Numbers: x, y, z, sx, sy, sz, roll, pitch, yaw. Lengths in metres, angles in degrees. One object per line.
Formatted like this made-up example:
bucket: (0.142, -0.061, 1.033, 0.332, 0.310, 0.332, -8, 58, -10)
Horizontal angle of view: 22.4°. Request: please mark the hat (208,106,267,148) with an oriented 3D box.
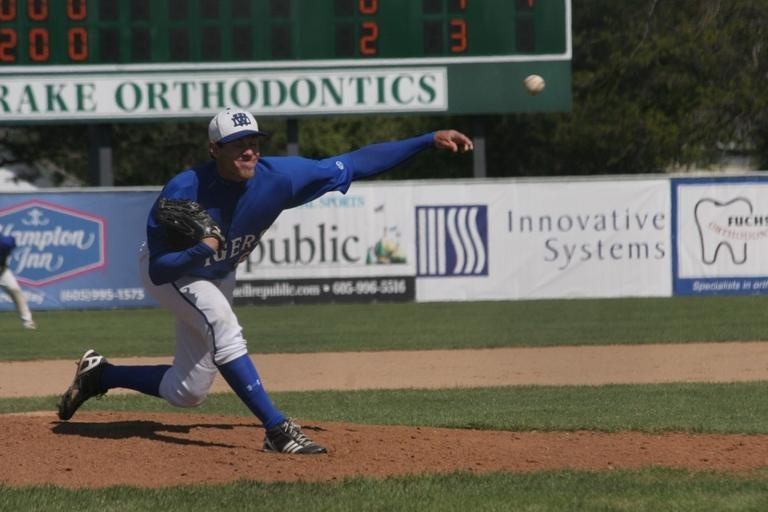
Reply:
hat: (-2.709, -2.459, 35.415, 0.945, 0.676, 1.170, -20, 21, -40)
